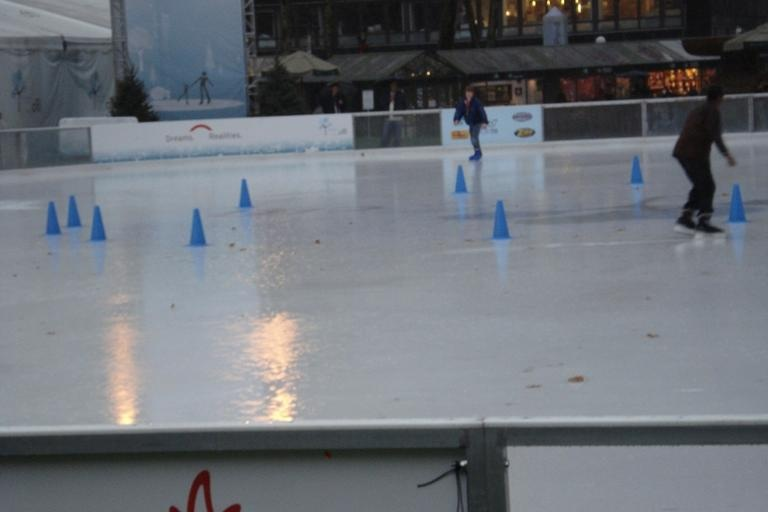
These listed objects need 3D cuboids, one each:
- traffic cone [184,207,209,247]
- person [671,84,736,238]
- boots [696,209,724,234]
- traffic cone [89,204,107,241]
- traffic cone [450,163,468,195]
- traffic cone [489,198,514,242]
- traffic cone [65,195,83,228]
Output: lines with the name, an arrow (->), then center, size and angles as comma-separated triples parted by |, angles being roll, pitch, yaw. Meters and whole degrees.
traffic cone -> -4.695, -0.772, 42.641 | 0.449, 0.923, 0.988 | -3, 8, -6
person -> 7.624, -2.297, 41.412 | 1.122, 3.507, 0.515 | -1, 8, 9
boots -> 7.817, -0.815, 41.768 | 0.810, 0.636, 0.355 | -3, 8, -3
traffic cone -> -7.314, -0.897, 43.507 | 0.416, 0.866, 1.237 | -4, 9, -10
traffic cone -> 2.024, -2.068, 46.826 | 0.619, 0.953, 0.625 | -4, 6, -8
traffic cone -> 2.848, -0.920, 42.022 | 0.462, 0.950, 0.581 | -2, 8, 3
traffic cone -> -8.162, -1.229, 44.761 | 0.405, 0.807, 1.242 | -4, 9, -11
